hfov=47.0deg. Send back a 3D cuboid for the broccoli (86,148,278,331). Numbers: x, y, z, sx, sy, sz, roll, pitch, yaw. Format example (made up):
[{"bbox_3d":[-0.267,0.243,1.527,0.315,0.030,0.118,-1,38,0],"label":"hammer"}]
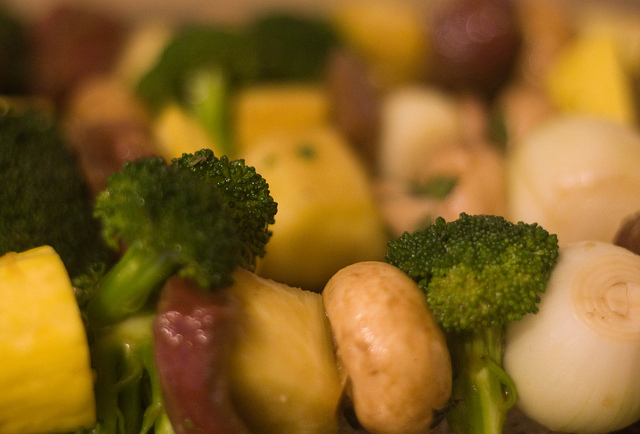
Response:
[{"bbox_3d":[-0.270,0.048,1.399,0.326,0.226,0.396,13,73,1],"label":"broccoli"}]

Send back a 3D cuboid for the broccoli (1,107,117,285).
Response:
[{"bbox_3d":[-0.573,-0.047,1.472,0.083,0.287,0.318,-21,73,13],"label":"broccoli"}]

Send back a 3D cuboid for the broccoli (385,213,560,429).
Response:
[{"bbox_3d":[0.299,0.221,1.587,0.366,0.369,0.472,-5,85,8],"label":"broccoli"}]
